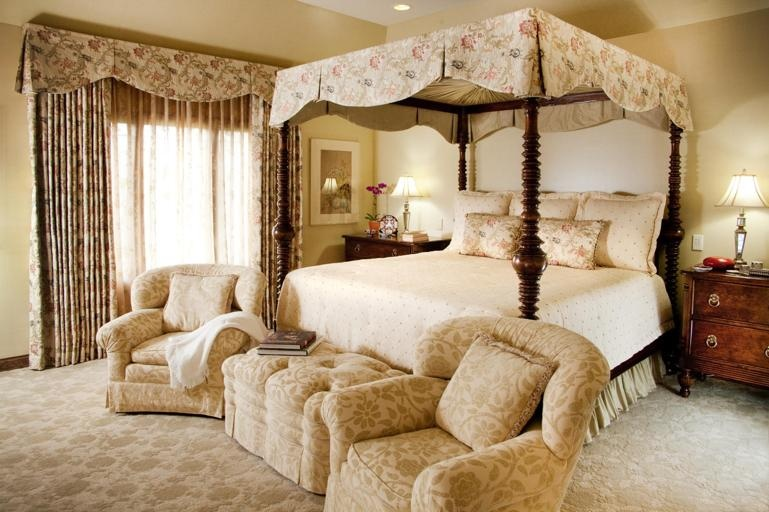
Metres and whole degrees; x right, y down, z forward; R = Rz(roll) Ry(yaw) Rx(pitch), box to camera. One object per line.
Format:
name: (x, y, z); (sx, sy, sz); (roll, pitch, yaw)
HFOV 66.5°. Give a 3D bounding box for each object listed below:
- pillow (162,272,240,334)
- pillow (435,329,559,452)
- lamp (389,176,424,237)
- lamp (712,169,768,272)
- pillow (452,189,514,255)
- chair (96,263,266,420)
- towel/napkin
pillow: (-1.605, 0.424, 5.098); (0.533, 0.449, 0.212); (-1, -2, 15)
pillow: (0.703, 0.871, 3.588); (0.199, 0.621, 0.614); (37, -9, -39)
lamp: (0.295, -0.637, 7.588); (0.428, 0.731, 0.443); (11, 13, 27)
lamp: (3.258, -0.354, 5.307); (0.392, 0.877, 0.426); (6, 9, 33)
pillow: (1.079, -0.336, 6.442); (0.750, 0.287, 0.787); (-3, 50, 18)
chair: (-1.768, 0.659, 5.186); (1.366, 1.133, 1.222); (0, 3, -13)
towel/napkin: (-1.400, 0.772, 4.905); (0.660, 0.311, 0.672); (-19, 7, 27)
